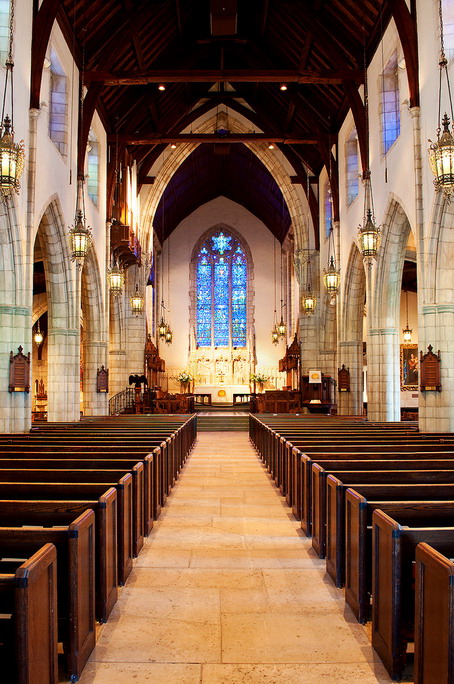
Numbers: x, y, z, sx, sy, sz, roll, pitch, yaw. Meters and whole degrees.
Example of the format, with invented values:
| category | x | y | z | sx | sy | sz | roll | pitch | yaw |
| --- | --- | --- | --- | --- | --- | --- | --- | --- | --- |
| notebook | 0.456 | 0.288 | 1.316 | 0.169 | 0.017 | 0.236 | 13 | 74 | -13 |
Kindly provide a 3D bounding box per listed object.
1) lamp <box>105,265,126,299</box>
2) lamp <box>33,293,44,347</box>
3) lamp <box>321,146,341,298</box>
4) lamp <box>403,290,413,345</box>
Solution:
| category | x | y | z | sx | sy | sz | roll | pitch | yaw |
| --- | --- | --- | --- | --- | --- | --- | --- | --- | --- |
| lamp | -2.599 | -1.470 | 15.750 | 0.313 | 0.772 | 1.038 | -1 | -3 | -11 |
| lamp | -7.180 | -0.813 | 25.655 | 0.418 | 1.728 | 2.115 | -1 | -3 | -17 |
| lamp | 2.831 | -3.305 | 18.369 | 0.363 | 4.130 | 0.453 | -1 | 3 | -3 |
| lamp | 7.048 | -0.982 | 26.361 | 0.334 | 2.152 | 1.359 | -2 | -2 | 16 |
